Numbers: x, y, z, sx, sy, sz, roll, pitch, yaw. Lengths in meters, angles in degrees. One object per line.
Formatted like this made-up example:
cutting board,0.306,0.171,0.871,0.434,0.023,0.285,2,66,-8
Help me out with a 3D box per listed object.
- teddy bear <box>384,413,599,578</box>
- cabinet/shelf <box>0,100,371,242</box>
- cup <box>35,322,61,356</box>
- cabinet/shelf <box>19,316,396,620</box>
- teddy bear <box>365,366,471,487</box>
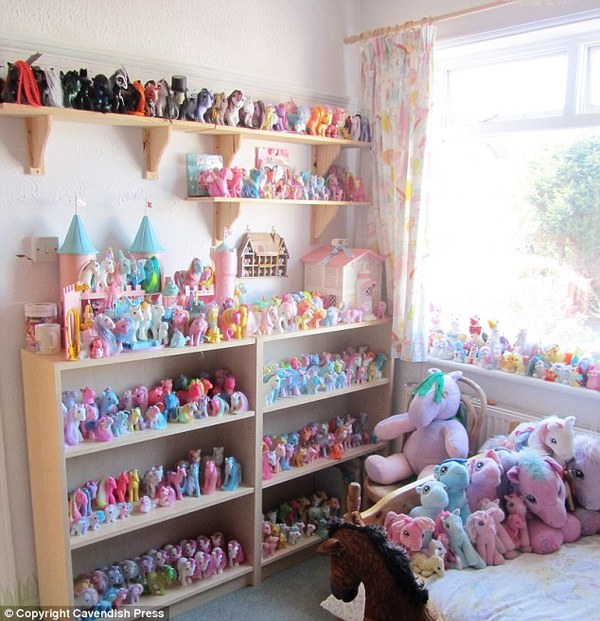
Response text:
teddy bear,0.705,0.723,2.129,0.452,0.313,0.754,6,-15,-43
cabinet/shelf,-0.378,-0.531,2.216,1.586,0.502,0.243,-8,10,-44
cup,-0.863,0.096,1.870,0.079,0.101,0.107,2,7,7
cabinet/shelf,-0.418,0.668,2.177,1.168,0.701,0.196,-7,12,-43
teddy bear,0.605,0.574,2.575,0.427,0.581,0.485,8,-2,-41
